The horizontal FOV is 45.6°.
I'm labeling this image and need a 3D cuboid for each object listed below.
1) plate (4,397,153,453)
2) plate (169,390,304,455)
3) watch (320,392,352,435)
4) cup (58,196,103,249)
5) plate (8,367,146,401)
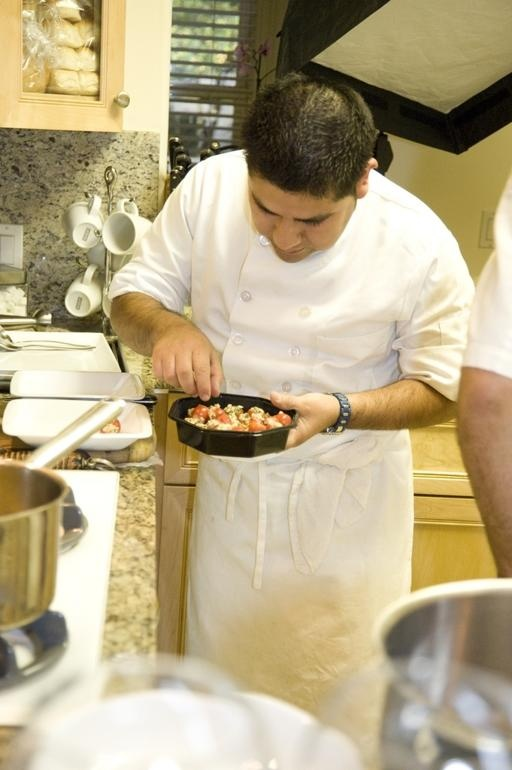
[{"bbox_3d":[-0.300,0.063,1.021,0.187,0.036,0.132,0,21,-6],"label":"plate"},{"bbox_3d":[-0.022,0.082,1.006,0.144,0.047,0.141,-7,27,-29],"label":"plate"},{"bbox_3d":[0.153,0.058,1.089,0.047,0.070,0.067,-2,10,-21],"label":"watch"},{"bbox_3d":[-0.491,-0.461,1.790,0.119,0.154,0.068,27,15,23],"label":"cup"},{"bbox_3d":[-0.334,0.006,1.175,0.210,0.035,0.140,-1,23,-12],"label":"plate"}]
